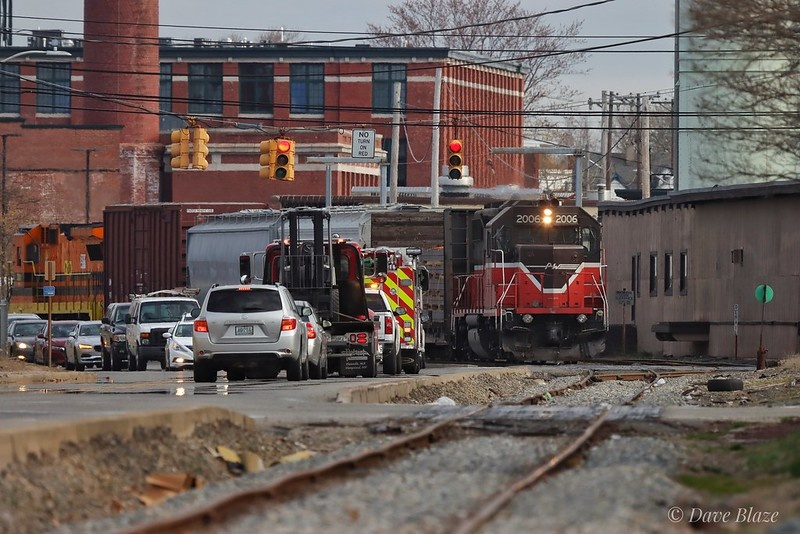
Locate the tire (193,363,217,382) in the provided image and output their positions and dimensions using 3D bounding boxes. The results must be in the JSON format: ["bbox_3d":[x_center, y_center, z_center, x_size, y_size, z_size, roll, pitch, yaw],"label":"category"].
[{"bbox_3d":[-5.095,2.756,37.291,0.560,0.571,0.594,0,-5,1],"label":"tire"}]

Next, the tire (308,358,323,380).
[{"bbox_3d":[-2.323,2.738,38.908,0.231,0.636,0.650,1,0,7],"label":"tire"}]

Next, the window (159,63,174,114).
[{"bbox_3d":[-15.511,-11.884,94.814,0.854,3.528,0.123,-1,37,-11],"label":"window"}]

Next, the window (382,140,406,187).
[{"bbox_3d":[-0.554,-6.644,93.560,0.217,3.701,1.373,14,1,-3],"label":"window"}]

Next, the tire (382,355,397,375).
[{"bbox_3d":[-0.323,2.792,41.480,0.550,0.389,0.730,-9,-13,0],"label":"tire"}]

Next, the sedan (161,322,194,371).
[{"bbox_3d":[-7.104,2.516,46.119,0.855,1.127,1.476,-3,1,-11],"label":"sedan"}]

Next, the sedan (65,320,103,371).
[{"bbox_3d":[-11.515,2.899,52.266,1.244,1.308,2.494,-3,1,-15],"label":"sedan"}]

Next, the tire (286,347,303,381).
[{"bbox_3d":[-2.727,2.435,36.657,0.310,0.906,0.927,1,1,6],"label":"tire"}]
